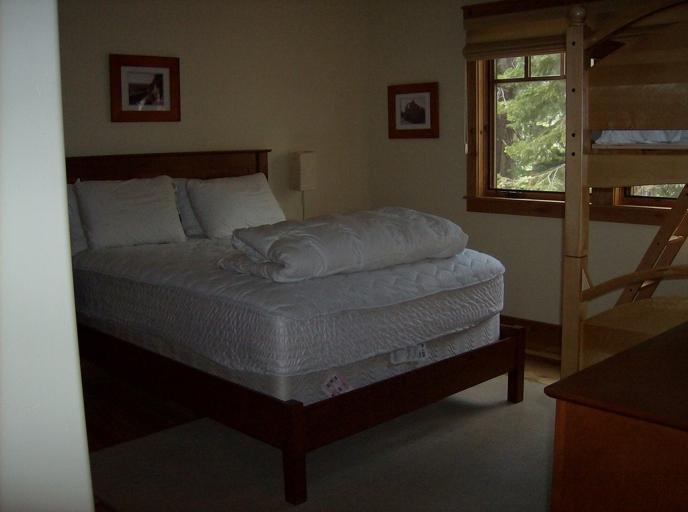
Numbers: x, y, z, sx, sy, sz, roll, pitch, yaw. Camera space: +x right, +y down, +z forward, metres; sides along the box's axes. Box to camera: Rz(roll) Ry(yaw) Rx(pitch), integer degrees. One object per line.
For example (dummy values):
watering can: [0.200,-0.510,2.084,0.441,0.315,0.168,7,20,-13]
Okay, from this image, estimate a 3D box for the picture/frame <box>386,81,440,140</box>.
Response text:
picture/frame: [0.584,-1.196,4.380,0.489,0.449,0.036,4,7,40]

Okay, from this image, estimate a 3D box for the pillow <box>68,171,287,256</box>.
pillow: [-1.135,-0.296,3.456,1.691,0.461,0.507,-8,27,-42]
